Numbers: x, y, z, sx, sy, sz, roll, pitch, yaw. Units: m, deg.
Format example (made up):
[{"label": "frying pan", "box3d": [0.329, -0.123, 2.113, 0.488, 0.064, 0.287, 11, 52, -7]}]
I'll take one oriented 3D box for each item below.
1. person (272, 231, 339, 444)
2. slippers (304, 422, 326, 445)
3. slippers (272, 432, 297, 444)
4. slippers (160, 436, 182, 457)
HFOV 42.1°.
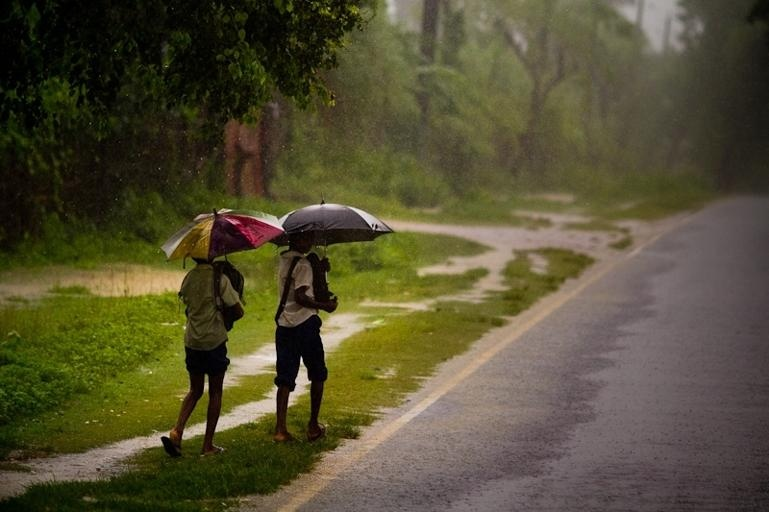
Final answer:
[{"label": "person", "box3d": [-1.192, 1.136, 14.309, 0.861, 2.908, 0.769, -1, 13, -4]}, {"label": "slippers", "box3d": [-0.988, 2.544, 14.353, 0.303, 0.308, 0.186, -4, -1, 14]}, {"label": "slippers", "box3d": [-1.422, 2.585, 14.269, 0.287, 0.191, 0.156, -6, 11, -12]}, {"label": "slippers", "box3d": [-2.992, 2.660, 13.920, 0.155, 0.452, 0.176, -19, 25, 3]}]
